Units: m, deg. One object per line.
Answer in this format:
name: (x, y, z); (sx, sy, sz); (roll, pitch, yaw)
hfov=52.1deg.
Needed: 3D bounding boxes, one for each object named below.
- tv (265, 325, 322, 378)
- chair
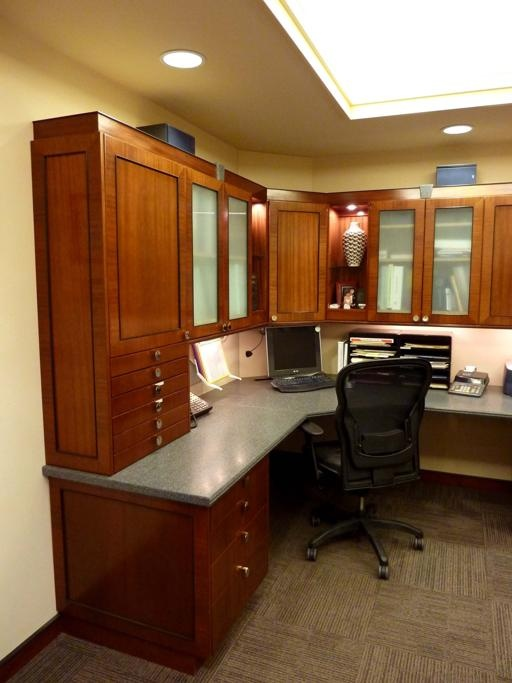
tv: (0.255, 0.056, 3.532); (0.382, 0.322, 0.025); (-4, 6, -13)
chair: (0.549, 0.572, 2.728); (0.628, 1.043, 0.641); (-5, 8, -34)
